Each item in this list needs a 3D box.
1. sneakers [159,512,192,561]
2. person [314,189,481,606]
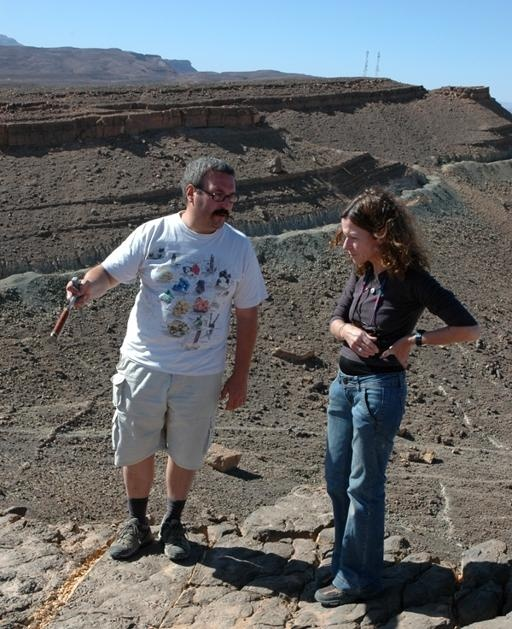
[{"bbox_3d":[-0.392,1.055,2.830,0.108,0.082,0.234,-5,13,-25],"label":"sneakers"},{"bbox_3d":[0.509,0.317,2.634,0.702,1.599,0.783,3,4,40],"label":"person"}]
